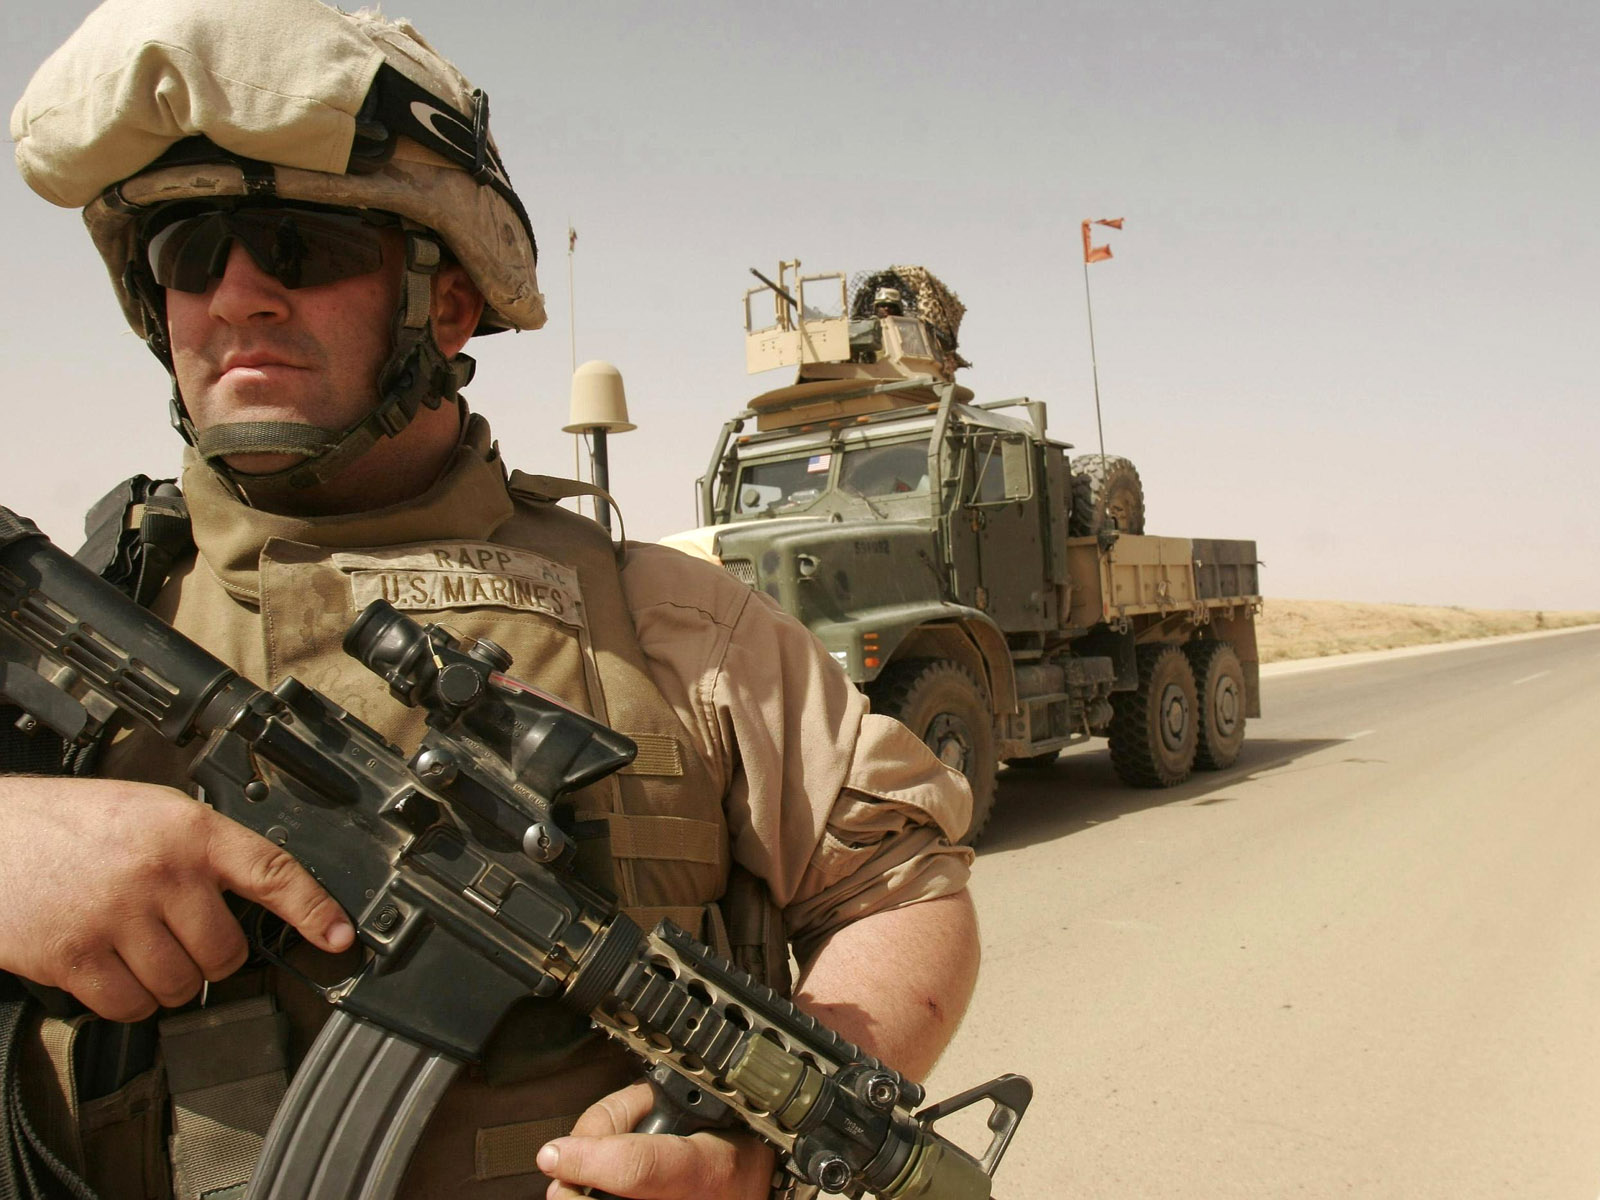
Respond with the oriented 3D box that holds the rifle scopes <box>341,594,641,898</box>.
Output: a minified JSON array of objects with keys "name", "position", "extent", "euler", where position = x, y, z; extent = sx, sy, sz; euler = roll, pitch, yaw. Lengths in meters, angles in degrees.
[{"name":"rifle scopes","position":[-0.412,0.202,2.227],"extent":[0.471,0.231,0.175],"euler":[33,-9,5]}]

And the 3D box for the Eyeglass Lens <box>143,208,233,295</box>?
[{"name":"Eyeglass Lens","position":[-0.897,-0.514,2.357],"extent":[0.094,0.103,0.078],"euler":[24,0,-20]}]

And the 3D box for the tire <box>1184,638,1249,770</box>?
[{"name":"tire","position":[2.723,0.686,10.507],"extent":[0.205,0.731,0.683],"euler":[-3,-12,20]}]

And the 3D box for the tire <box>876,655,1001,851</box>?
[{"name":"tire","position":[0.611,0.707,7.307],"extent":[0.246,0.842,0.767],"euler":[-5,-1,44]}]

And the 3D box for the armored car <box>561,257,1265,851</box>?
[{"name":"armored car","position":[0.572,-0.319,9.821],"extent":[2.223,3.402,5.449],"euler":[-2,-4,30]}]
